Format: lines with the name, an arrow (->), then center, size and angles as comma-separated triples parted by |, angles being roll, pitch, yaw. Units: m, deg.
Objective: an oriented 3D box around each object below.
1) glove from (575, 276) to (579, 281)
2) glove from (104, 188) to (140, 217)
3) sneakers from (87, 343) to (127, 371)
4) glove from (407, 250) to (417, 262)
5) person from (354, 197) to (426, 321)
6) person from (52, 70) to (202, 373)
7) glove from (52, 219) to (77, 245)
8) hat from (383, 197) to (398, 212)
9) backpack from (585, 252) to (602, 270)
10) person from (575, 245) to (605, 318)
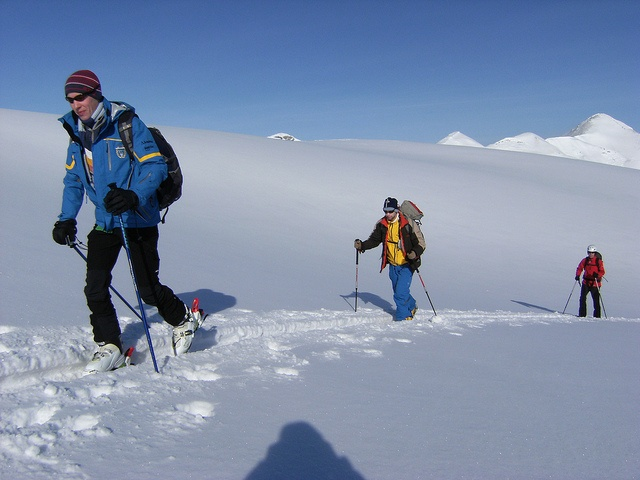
glove -> 5.369, 0.810, 11.902 | 0.104, 0.148, 0.044 | -1, 0, -3
glove -> -1.824, -0.352, 5.264 | 0.300, 0.249, 0.146 | 2, 3, -23
sneakers -> -2.022, 1.115, 5.486 | 0.204, 0.227, 0.448 | 5, 4, 27
glove -> 1.356, 0.220, 8.429 | 0.107, 0.104, 0.115 | -4, -5, 12
person -> 1.149, 0.274, 8.747 | 0.580, 1.808, 0.937 | 1, 4, -40
person -> -1.928, -0.181, 5.670 | 1.294, 2.797, 0.942 | 2, 3, -26
glove -> -2.510, -0.071, 5.624 | 0.207, 0.257, 0.256 | -2, -2, 3
hat -> 1.072, -0.527, 8.596 | 0.163, 0.138, 0.235 | -5, -9, 36
backpack -> 5.672, 0.448, 11.815 | 0.201, 0.292, 0.280 | -13, 26, 32
person -> 5.566, 0.852, 11.783 | 0.518, 1.199, 1.073 | 5, 3, 26
